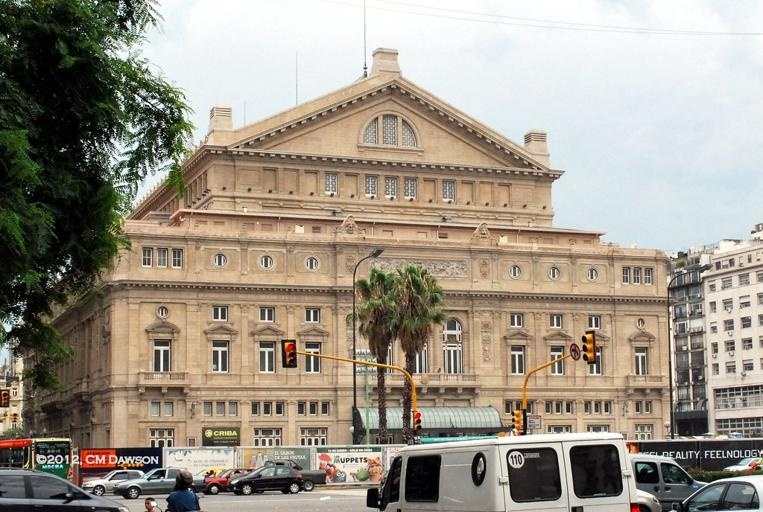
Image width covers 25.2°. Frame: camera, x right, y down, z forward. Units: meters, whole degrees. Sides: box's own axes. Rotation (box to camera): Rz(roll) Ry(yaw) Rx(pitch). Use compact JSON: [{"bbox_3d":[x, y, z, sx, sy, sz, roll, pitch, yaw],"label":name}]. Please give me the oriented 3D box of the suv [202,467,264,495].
[{"bbox_3d":[-9.317,13.940,105.946,3.107,1.032,1.512,1,-7,-7],"label":"suv"}]
